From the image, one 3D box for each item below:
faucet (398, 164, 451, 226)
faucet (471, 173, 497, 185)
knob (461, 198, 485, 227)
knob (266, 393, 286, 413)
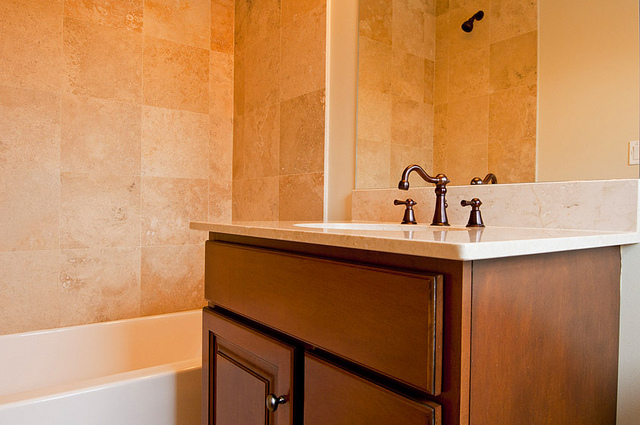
[{"bbox_3d":[0.413,-0.074,1.953,0.191,0.257,0.159,1,-2,12],"label":"faucet"},{"bbox_3d":[0.642,-0.129,1.930,0.031,0.047,0.089,2,-1,-27],"label":"faucet"},{"bbox_3d":[0.560,0.000,1.804,0.074,0.111,0.114,0,-2,24],"label":"knob"},{"bbox_3d":[-0.147,0.606,1.565,0.039,0.039,0.067,-19,-23,36],"label":"knob"}]
